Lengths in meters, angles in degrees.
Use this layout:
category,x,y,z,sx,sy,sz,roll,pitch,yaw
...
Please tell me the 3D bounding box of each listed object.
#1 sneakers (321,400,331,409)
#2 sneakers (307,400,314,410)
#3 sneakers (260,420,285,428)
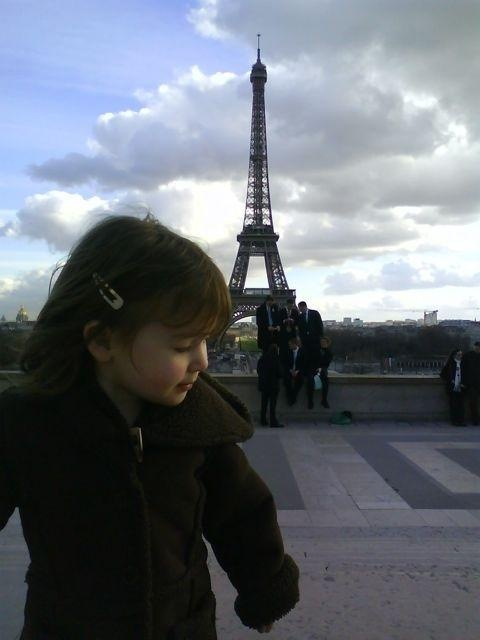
category,x,y,z,sx,sy,sz,roll,pitch,yaw
sneakers,1.345,1.324,9.301,0.132,0.143,0.113,1,0,3
sneakers,1.121,1.299,9.308,0.113,0.210,0.090,1,0,-11
sneakers,0.467,1.547,8.763,0.381,0.151,0.122,-3,-5,17
